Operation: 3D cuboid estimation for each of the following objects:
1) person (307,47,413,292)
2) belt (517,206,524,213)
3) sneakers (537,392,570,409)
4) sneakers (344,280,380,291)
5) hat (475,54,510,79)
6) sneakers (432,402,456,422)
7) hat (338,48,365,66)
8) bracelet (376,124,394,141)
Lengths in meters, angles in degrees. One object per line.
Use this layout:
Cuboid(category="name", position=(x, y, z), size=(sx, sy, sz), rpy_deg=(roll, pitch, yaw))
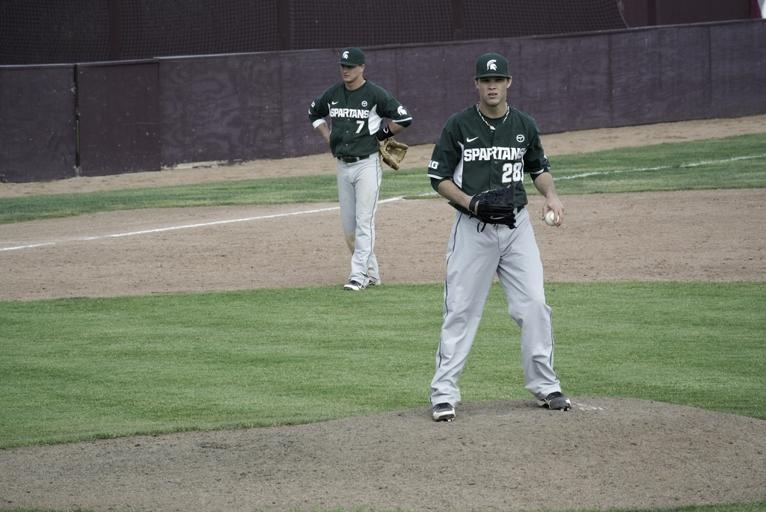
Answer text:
Cuboid(category="person", position=(-0.379, -1.296, 21.322), size=(0.898, 3.483, 1.151), rpy_deg=(7, 18, 31))
Cuboid(category="belt", position=(1.681, -0.582, 17.846), size=(0.078, 0.060, 0.055), rpy_deg=(4, 9, 7))
Cuboid(category="sneakers", position=(2.098, 1.801, 17.810), size=(0.193, 0.136, 0.352), rpy_deg=(-1, -3, -36))
Cuboid(category="sneakers", position=(-0.288, 0.463, 21.352), size=(0.531, 0.194, 0.183), rpy_deg=(7, 3, -29))
Cuboid(category="hat", position=(1.340, -2.346, 17.831), size=(0.315, 0.195, 0.383), rpy_deg=(0, 13, 4))
Cuboid(category="sneakers", position=(0.729, 1.913, 17.641), size=(0.282, 0.188, 0.151), rpy_deg=(-2, 15, 2))
Cuboid(category="hat", position=(-0.463, -2.926, 21.214), size=(0.346, 0.261, 0.275), rpy_deg=(-5, 15, -12))
Cuboid(category="bracelet", position=(-0.010, -1.818, 21.391), size=(0.250, 0.219, 0.233), rpy_deg=(-21, 31, 7))
